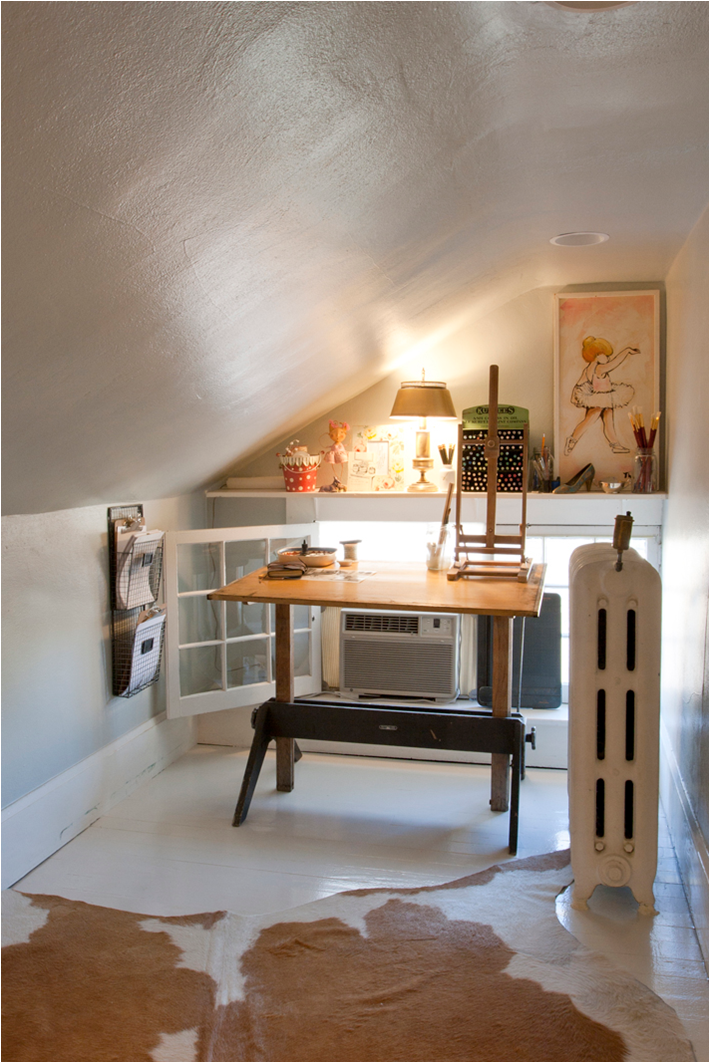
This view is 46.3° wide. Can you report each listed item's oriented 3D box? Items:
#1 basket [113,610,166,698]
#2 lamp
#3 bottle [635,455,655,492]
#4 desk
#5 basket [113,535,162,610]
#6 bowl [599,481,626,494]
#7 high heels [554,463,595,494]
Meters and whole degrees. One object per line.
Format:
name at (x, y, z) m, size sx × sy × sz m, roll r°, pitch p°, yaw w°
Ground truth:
basket at (-0.940, 0.516, 3.606) m, size 0.123 × 0.436 × 0.413 m, roll -2°, pitch -3°, yaw 12°
lamp at (0.336, -0.472, 4.053) m, size 0.293 × 0.556 × 0.421 m, roll 0°, pitch 2°, yaw 7°
bottle at (1.340, -0.269, 3.822) m, size 0.098 × 0.172 × 0.078 m, roll -1°, pitch 2°, yaw -2°
desk at (0.135, 0.672, 3.459) m, size 1.181 × 1.030 × 0.926 m, roll 1°, pitch 3°, yaw 12°
basket at (-0.940, 0.159, 3.628) m, size 0.097 × 0.336 × 0.327 m, roll 0°, pitch 2°, yaw 12°
bowl at (1.201, -0.209, 3.882) m, size 0.101 × 0.058 × 0.174 m, roll 0°, pitch 2°, yaw 15°
high heels at (0.996, -0.248, 3.907) m, size 0.254 × 0.169 × 0.095 m, roll -2°, pitch 11°, yaw 5°
